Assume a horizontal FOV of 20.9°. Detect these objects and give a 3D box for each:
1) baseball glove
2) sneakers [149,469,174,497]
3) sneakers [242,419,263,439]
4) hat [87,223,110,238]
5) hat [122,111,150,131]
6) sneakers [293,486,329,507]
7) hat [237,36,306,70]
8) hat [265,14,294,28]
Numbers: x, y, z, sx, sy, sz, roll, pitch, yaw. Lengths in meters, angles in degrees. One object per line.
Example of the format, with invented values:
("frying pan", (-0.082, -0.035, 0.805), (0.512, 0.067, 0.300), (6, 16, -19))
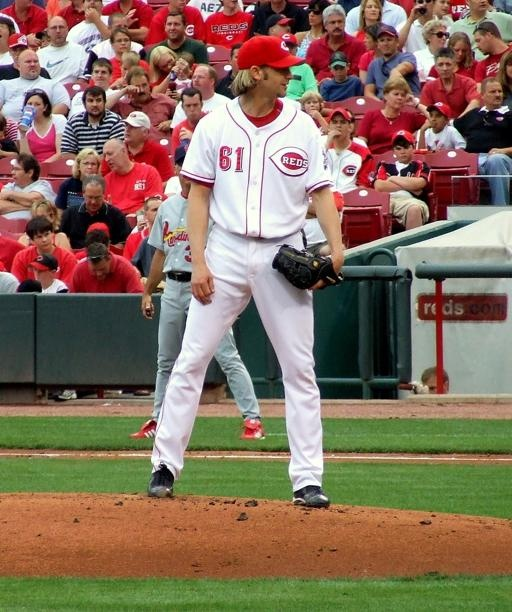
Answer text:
("baseball glove", (0.264, -0.174, 6.338), (0.344, 0.135, 0.246), (23, 17, 9))
("sneakers", (-0.429, 0.808, 6.419), (0.068, 0.077, 0.185), (3, -23, -4))
("sneakers", (-0.015, 0.772, 8.856), (0.154, 0.095, 0.241), (-1, -1, 0))
("hat", (-1.290, -0.649, 11.476), (0.157, 0.109, 0.215), (2, -3, -3))
("hat", (-1.121, -1.801, 13.504), (0.170, 0.122, 0.233), (6, -5, 39))
("sneakers", (0.259, 0.855, 6.366), (0.074, 0.065, 0.170), (4, -10, -32))
("hat", (0.061, -1.172, 6.416), (0.232, 0.122, 0.156), (0, 17, -1))
("hat", (0.254, -3.195, 15.644), (0.257, 0.129, 0.182), (-2, 2, 26))
